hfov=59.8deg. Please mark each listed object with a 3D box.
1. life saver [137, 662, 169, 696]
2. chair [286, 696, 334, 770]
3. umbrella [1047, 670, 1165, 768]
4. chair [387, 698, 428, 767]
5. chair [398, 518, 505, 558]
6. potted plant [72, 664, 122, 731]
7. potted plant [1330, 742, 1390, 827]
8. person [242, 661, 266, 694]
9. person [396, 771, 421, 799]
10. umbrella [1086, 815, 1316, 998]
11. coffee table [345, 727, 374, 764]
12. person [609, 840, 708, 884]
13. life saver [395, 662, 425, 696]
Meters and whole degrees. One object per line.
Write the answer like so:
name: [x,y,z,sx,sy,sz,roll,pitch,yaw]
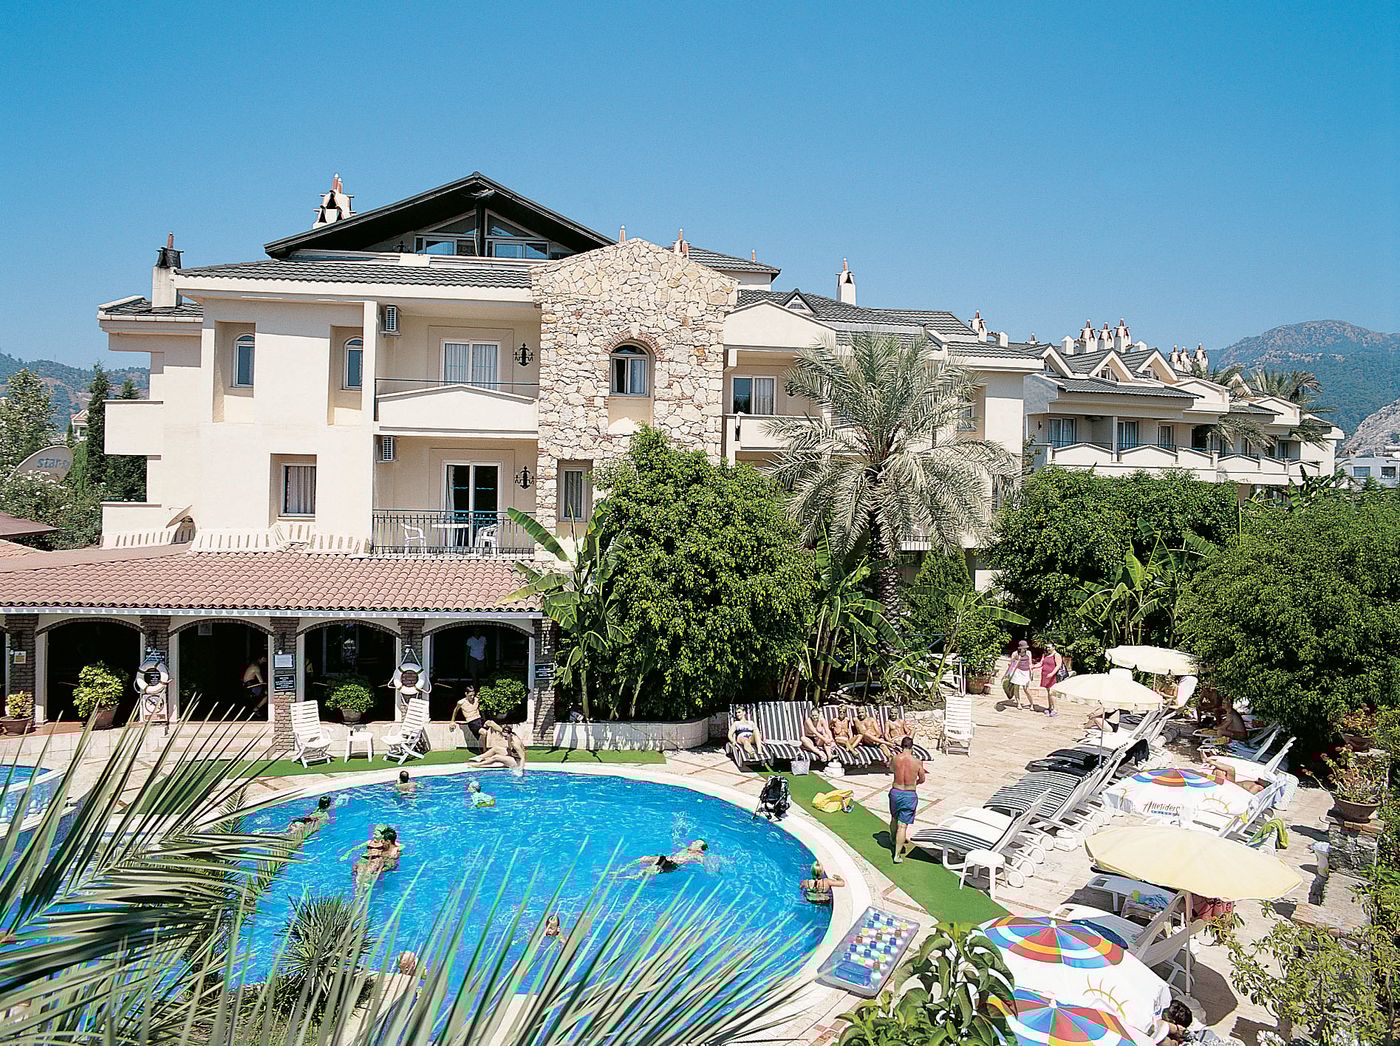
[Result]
life saver: [-11.205,3.116,24.639,0.588,0.670,1.185,1,-2,-22]
chair: [-7.965,4.136,24.283,0.966,1.409,1.079,0,6,-38]
umbrella: [8.581,4.145,24.792,2.362,1.673,2.387,-2,4,4]
chair: [-6.355,4.220,24.660,0.896,1.320,1.017,-2,-1,25]
chair: [-6.615,0.233,31.160,2.664,1.000,1.070,1,-2,-17]
potted plant: [-12.601,3.558,25.007,0.875,1.316,1.382,1,-2,-16]
potted plant: [11.076,4.353,20.364,0.886,0.577,1.593,-1,-3,22]
person: [-10.036,3.409,27.086,0.453,0.664,0.802,1,-2,-24]
person: [-5.519,4.799,22.641,0.430,0.473,0.807,1,-2,-15]
umbrella: [6.129,4.921,15.296,1.931,1.423,1.950,3,16,3]
coffee table: [-6.996,4.455,24.603,0.641,0.541,0.509,1,-1,-15]
person: [-0.658,5.392,19.381,1.772,0.548,0.787,2,-2,-29]
life saver: [-6.210,3.239,25.523,0.621,0.688,0.384,1,-2,-14]
